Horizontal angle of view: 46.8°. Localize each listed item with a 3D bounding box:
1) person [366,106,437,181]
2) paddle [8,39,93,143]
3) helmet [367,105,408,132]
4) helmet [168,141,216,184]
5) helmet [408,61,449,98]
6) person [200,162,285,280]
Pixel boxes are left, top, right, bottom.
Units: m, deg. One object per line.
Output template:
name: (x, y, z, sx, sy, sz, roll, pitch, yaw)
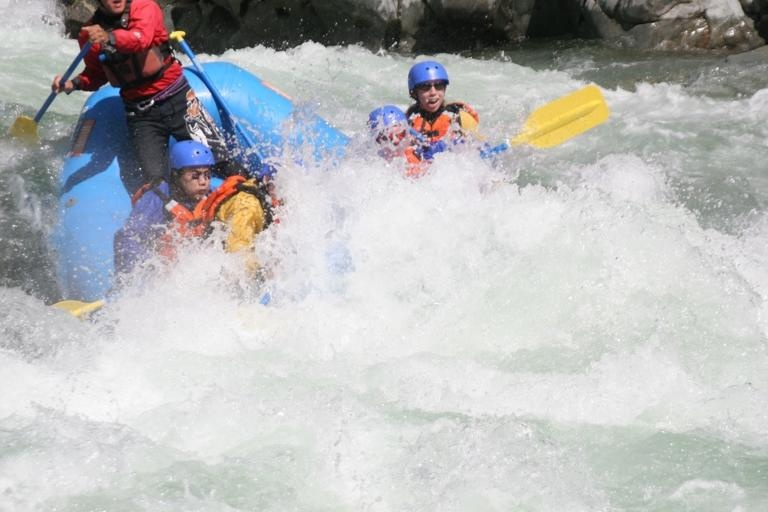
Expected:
person: (0.138, -1.093, 8.409, 0.481, 0.315, 0.770, -29, 76, -11)
paddle: (-3.208, -1.496, 8.523, 0.274, 1.319, 0.123, -5, 72, -43)
helmet: (0.041, -1.319, 8.583, 0.243, 0.301, 0.276, -34, 87, -2)
helmet: (-1.741, -0.864, 7.972, 0.251, 0.341, 0.256, -17, 90, -59)
helmet: (0.440, -1.804, 8.969, 0.285, 0.361, 0.327, -5, 92, -18)
person: (-1.200, -0.317, 7.818, 0.355, 0.732, 0.869, 22, 48, -33)
